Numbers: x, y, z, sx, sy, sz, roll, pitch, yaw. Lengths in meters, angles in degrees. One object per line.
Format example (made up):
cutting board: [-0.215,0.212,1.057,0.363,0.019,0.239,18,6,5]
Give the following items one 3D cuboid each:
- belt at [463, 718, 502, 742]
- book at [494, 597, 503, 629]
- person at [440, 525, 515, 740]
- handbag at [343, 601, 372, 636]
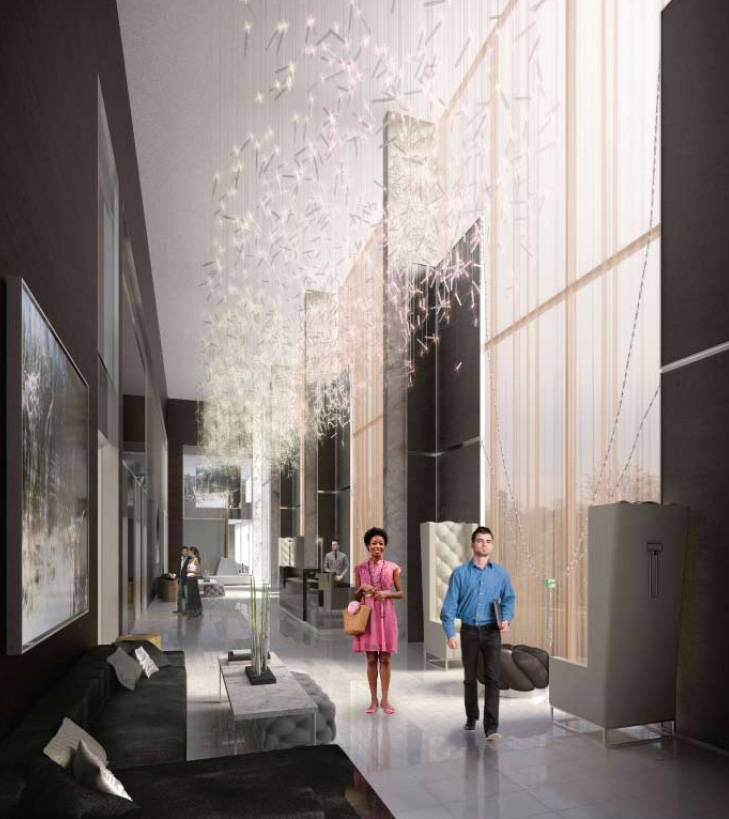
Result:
belt: [0.779,2.122,4.325,0.080,0.168,0.322,4,-19,-22]
book: [0.913,1.376,4.365,0.074,0.192,0.112,5,-9,-19]
person: [0.773,1.489,4.429,0.475,1.356,0.349,-1,-8,18]
handbag: [-0.059,1.601,4.956,0.199,0.273,0.203,3,-9,-2]
